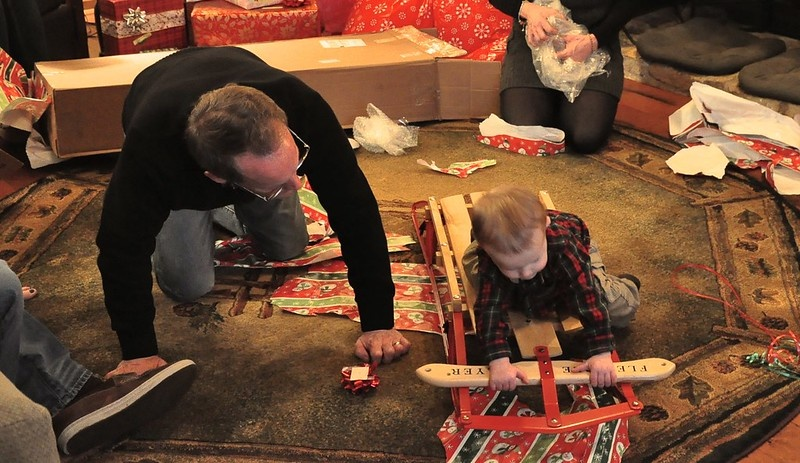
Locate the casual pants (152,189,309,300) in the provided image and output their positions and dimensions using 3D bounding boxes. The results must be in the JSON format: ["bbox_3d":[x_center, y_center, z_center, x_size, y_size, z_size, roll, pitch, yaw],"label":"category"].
[{"bbox_3d":[-0.840,0.026,2.938,0.482,0.824,0.468,39,69,-11],"label":"casual pants"}]

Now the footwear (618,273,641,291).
[{"bbox_3d":[1.025,0.219,2.629,0.106,0.040,0.079,1,12,-38],"label":"footwear"}]

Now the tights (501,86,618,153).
[{"bbox_3d":[0.946,-0.685,3.508,0.537,0.485,0.139,14,74,15],"label":"tights"}]

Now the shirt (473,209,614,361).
[{"bbox_3d":[0.542,0.221,2.314,0.470,0.247,0.661,-9,38,3],"label":"shirt"}]

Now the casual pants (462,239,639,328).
[{"bbox_3d":[0.714,0.225,2.445,0.517,0.120,0.487,0,44,-7],"label":"casual pants"}]

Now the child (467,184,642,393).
[{"bbox_3d":[0.587,0.137,2.305,0.645,0.439,0.804,-4,38,7],"label":"child"}]

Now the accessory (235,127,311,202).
[{"bbox_3d":[-0.425,-0.226,2.096,0.301,0.274,0.142,-23,41,-31],"label":"accessory"}]
